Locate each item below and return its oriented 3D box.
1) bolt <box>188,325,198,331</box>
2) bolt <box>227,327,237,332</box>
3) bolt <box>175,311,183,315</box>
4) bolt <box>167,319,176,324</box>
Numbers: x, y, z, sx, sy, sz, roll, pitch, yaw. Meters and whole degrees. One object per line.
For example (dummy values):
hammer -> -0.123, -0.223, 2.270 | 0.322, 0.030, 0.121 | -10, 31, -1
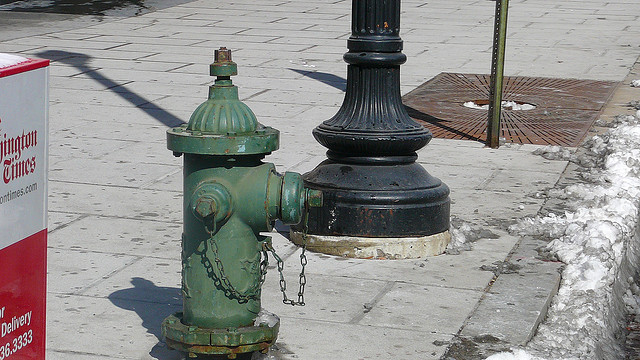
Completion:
bolt -> -1.095, 1.273, 8.189 | 0.066, 0.030, 0.029 | 0, -2, -8
bolt -> -0.750, 1.280, 8.166 | 0.048, 0.025, 0.043 | 3, 5, 24
bolt -> -1.255, 1.177, 8.450 | 0.050, 0.031, 0.041 | 0, -2, -6
bolt -> -1.294, 1.221, 8.267 | 0.063, 0.030, 0.036 | 1, -8, -7
